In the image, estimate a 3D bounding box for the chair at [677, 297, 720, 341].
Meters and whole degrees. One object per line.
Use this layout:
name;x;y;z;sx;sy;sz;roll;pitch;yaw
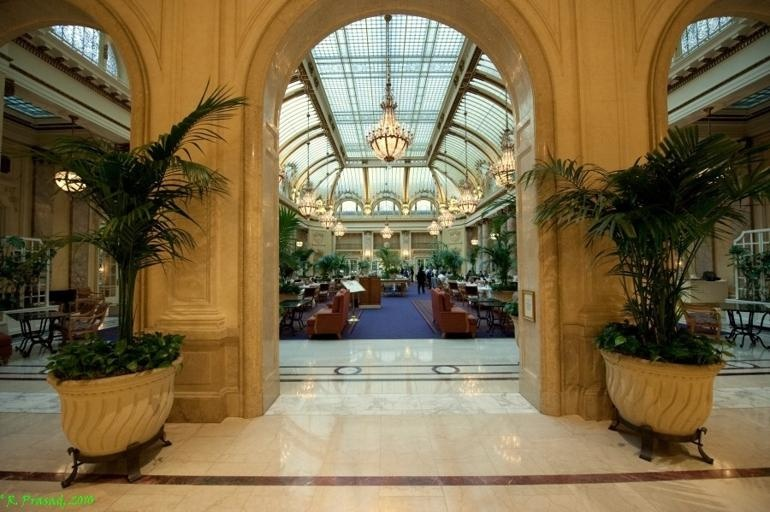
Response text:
chair;5.417;0.992;8.214;0.549;0.544;0.687;14;16;41

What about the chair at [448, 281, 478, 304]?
chair;2.574;1.225;15.455;0.913;1.114;0.776;-1;2;-7
